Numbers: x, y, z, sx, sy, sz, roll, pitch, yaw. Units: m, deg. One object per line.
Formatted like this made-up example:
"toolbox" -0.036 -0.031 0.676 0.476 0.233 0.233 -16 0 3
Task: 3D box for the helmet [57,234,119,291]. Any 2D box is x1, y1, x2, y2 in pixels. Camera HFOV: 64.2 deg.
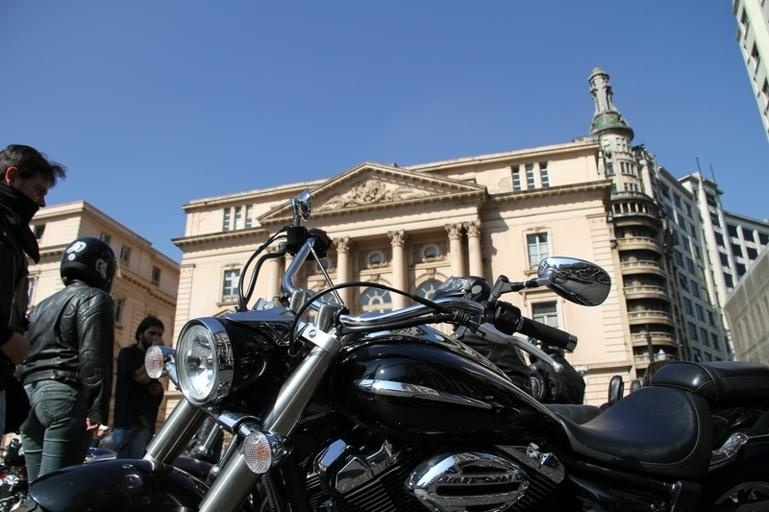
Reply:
"helmet" -2.264 0.062 4.570 0.355 0.399 0.448 1 -3 -1
